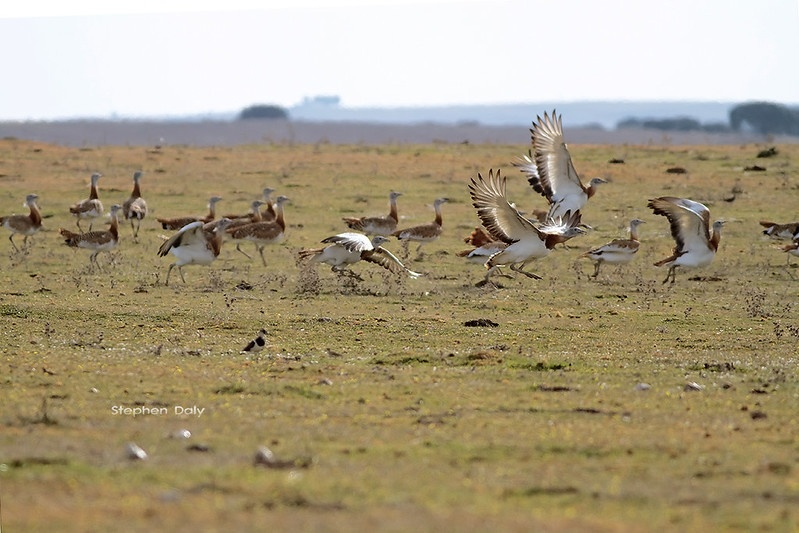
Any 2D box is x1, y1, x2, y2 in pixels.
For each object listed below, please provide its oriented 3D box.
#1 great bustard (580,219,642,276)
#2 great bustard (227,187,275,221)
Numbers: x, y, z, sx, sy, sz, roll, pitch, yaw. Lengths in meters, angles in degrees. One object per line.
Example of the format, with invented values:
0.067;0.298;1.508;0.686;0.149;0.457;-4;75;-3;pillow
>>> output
5.771;-0.282;33.915;1.357;1.046;1.307;2;14;4;great bustard
-4.265;-1.823;38.554;1.258;0.504;1.405;-1;-28;34;great bustard
